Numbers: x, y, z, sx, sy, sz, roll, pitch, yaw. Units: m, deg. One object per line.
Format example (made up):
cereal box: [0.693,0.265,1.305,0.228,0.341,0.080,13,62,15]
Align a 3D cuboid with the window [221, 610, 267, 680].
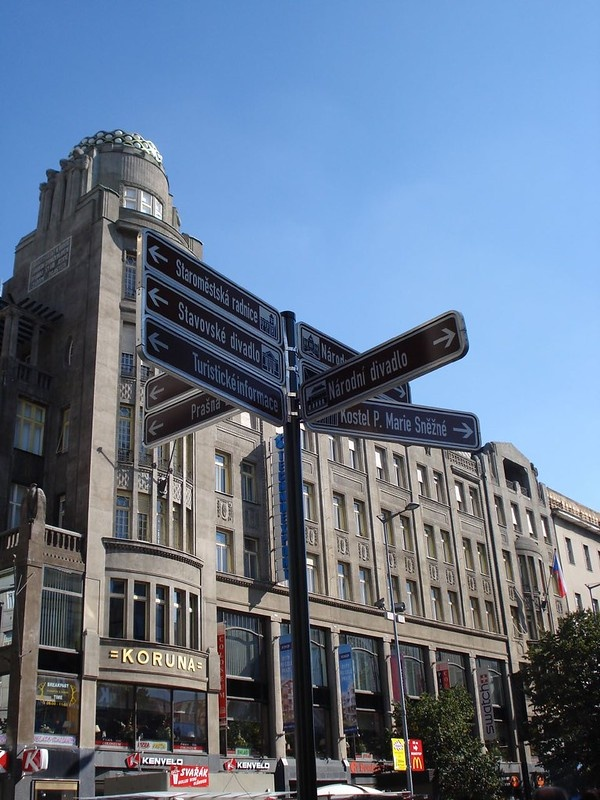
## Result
window: [-2.629,11.002,32.719,0.170,2.855,2.543,-34,-47,27]

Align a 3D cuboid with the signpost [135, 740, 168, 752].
signpost: [-5.433,12.607,26.687,0.312,0.414,1.566,-18,-30,24]

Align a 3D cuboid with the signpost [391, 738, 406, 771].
signpost: [4.190,15.052,31.136,0.492,1.213,0.877,-5,-26,1]

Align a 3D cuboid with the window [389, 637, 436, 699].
window: [6.000,15.318,41.327,2.969,2.752,0.340,23,-33,-35]

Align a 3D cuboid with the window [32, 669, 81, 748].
window: [-8.248,10.338,24.403,0.243,2.466,2.134,-24,-30,23]

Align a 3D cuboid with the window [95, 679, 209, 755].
window: [-5.480,11.766,27.082,4.689,2.286,0.202,22,-42,-36]

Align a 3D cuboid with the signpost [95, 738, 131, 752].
signpost: [-6.596,12.011,25.611,0.244,0.358,1.470,-21,-31,29]

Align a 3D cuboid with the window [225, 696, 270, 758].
window: [-2.322,13.967,31.428,0.621,2.278,2.250,-19,-25,29]

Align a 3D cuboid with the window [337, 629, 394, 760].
window: [3.176,15.077,37.018,0.442,5.449,4.528,-17,-27,29]

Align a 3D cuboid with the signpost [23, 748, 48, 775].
signpost: [-8.228,11.090,22.602,0.692,0.682,1.232,12,-32,-31]

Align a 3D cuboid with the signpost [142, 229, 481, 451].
signpost: [-0.327,-0.257,4.273,1.539,0.602,1.592,6,-14,-17]
